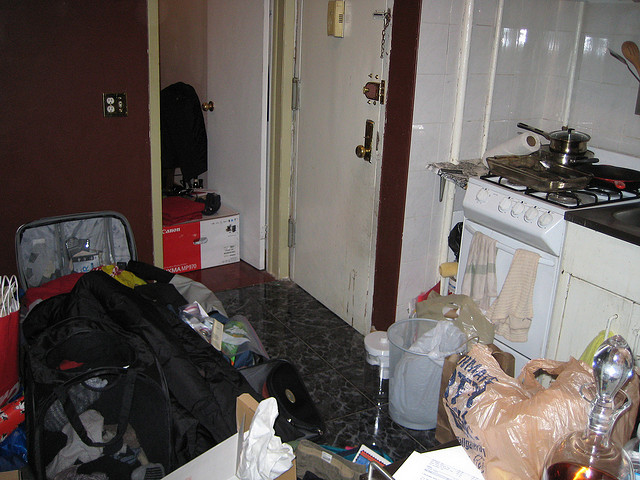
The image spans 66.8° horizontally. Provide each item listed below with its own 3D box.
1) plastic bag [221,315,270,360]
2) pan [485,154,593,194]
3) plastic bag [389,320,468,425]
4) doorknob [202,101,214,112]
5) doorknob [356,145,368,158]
[{"bbox_3d":[-0.367,0.469,2.326,0.200,0.202,0.267,-5,20,-8],"label":"plastic bag"},{"bbox_3d":[1.089,-0.336,2.457,0.275,0.144,0.468,-15,24,-32],"label":"pan"},{"bbox_3d":[0.468,0.636,2.486,0.388,0.476,0.396,-6,18,-26],"label":"plastic bag"},{"bbox_3d":[-0.931,-1.106,4.041,0.113,0.087,0.041,4,19,17],"label":"doorknob"},{"bbox_3d":[0.243,-0.524,2.890,0.080,0.071,0.028,15,24,40],"label":"doorknob"}]
